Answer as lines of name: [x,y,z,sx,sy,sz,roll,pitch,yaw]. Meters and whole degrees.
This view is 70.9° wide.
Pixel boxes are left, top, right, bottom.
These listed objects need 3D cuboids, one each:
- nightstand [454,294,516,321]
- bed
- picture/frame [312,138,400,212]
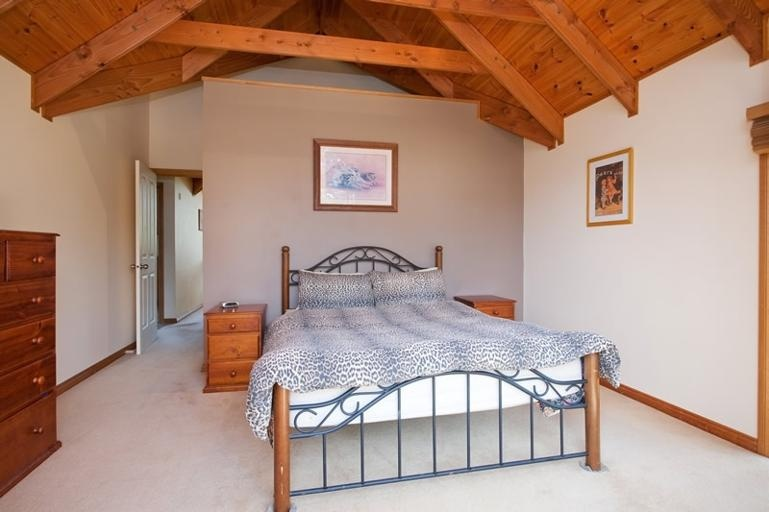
nightstand: [1.179,0.543,6.146,0.342,0.295,0.472,0,0,-12]
bed: [0.054,0.874,5.176,2.073,1.216,2.367,-1,-1,-11]
picture/frame: [-0.374,-0.922,6.169,0.850,0.705,0.060,1,-3,-16]
